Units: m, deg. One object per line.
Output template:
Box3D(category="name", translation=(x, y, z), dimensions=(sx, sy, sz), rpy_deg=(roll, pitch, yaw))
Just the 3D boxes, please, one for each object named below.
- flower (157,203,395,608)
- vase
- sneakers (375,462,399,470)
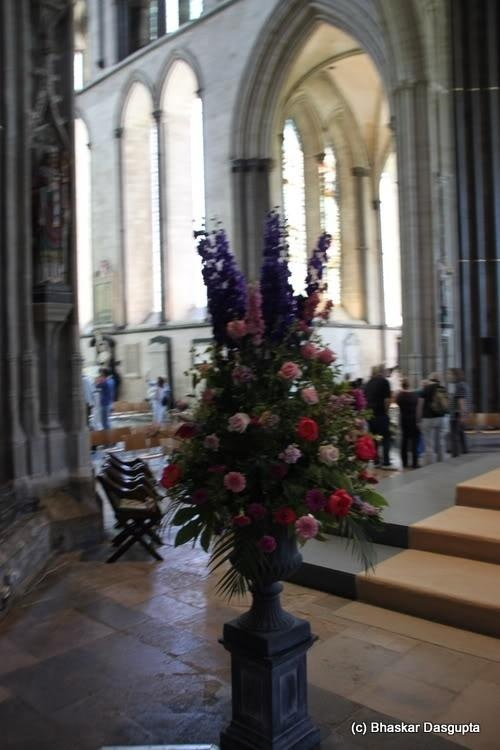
Box3D(category="flower", translation=(0.088, 0.119, 2.191), dimensions=(0.785, 1.394, 0.628), rpy_deg=(-2, -1, -4))
Box3D(category="vase", translation=(0.066, 0.674, 2.198), dimensions=(0.277, 0.338, 0.265), rpy_deg=(0, -2, -10))
Box3D(category="sneakers", translation=(1.813, 1.225, 8.546), dimensions=(0.284, 0.123, 0.104), rpy_deg=(-2, 1, -11))
